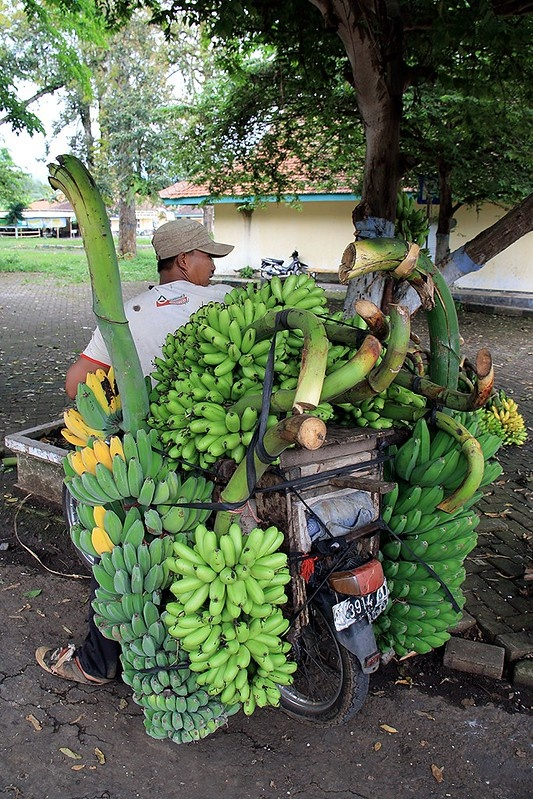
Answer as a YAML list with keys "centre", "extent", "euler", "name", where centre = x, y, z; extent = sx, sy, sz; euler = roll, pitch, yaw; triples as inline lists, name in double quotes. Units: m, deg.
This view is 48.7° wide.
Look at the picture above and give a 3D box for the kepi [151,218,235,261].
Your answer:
- centre: [-0.350, -0.813, 3.012]
  extent: [0.349, 0.162, 0.213]
  euler: [-15, 22, -8]
  name: "kepi"
